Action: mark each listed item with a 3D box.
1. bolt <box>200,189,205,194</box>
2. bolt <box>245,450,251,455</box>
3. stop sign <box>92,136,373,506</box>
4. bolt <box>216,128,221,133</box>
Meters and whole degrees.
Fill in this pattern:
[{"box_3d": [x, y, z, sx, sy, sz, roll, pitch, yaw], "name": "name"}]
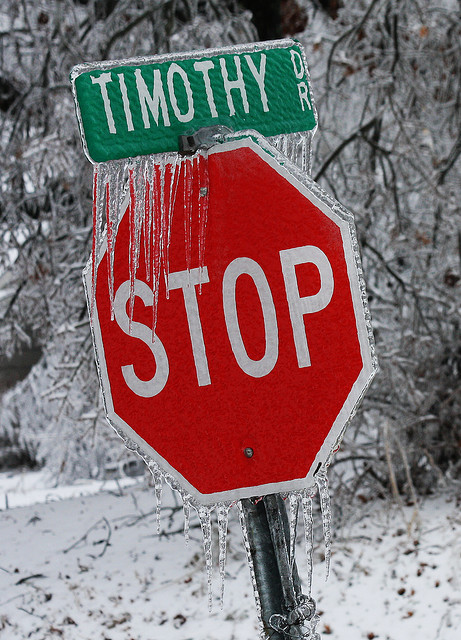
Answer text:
[{"box_3d": [-0.097, -0.444, 3.393, 0.017, 0.004, 0.019, -2, 91, 1], "name": "bolt"}, {"box_3d": [0.060, 0.449, 3.337, 0.016, 0.004, 0.017, 9, 92, 5], "name": "bolt"}, {"box_3d": [-0.004, -0.009, 3.345, 0.941, 0.050, 1.364, -8, 114, 2], "name": "stop sign"}, {"box_3d": [-0.044, -0.653, 3.389, 0.015, 0.004, 0.016, -1, 90, -18], "name": "bolt"}]
